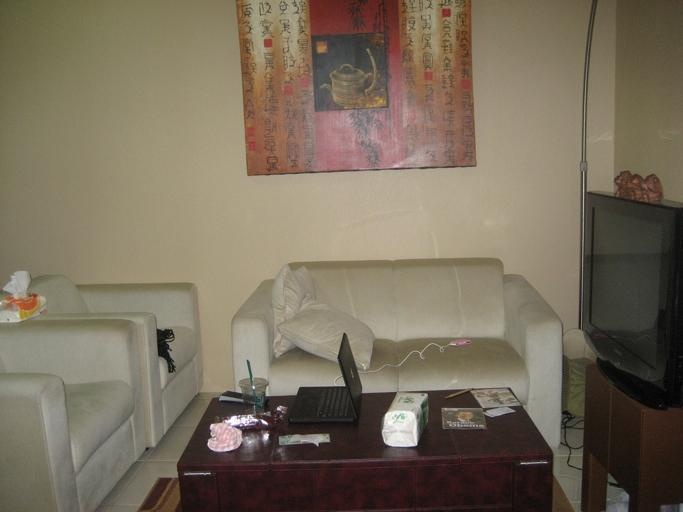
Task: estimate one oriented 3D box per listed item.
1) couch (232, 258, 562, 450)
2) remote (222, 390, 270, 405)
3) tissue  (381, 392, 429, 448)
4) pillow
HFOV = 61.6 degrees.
[{"bbox_3d":[0.523,0.645,4.465,2.362,1.317,1.540,-2,4,2],"label":"couch"},{"bbox_3d":[-0.504,0.718,2.899,0.188,0.040,0.106,6,-1,5],"label":"remote"},{"bbox_3d":[0.281,0.738,2.613,0.188,0.185,0.276,4,9,6],"label":"tissue "},{"bbox_3d":[-0.113,0.406,3.591,0.587,0.434,0.620,12,12,9],"label":"pillow"}]
